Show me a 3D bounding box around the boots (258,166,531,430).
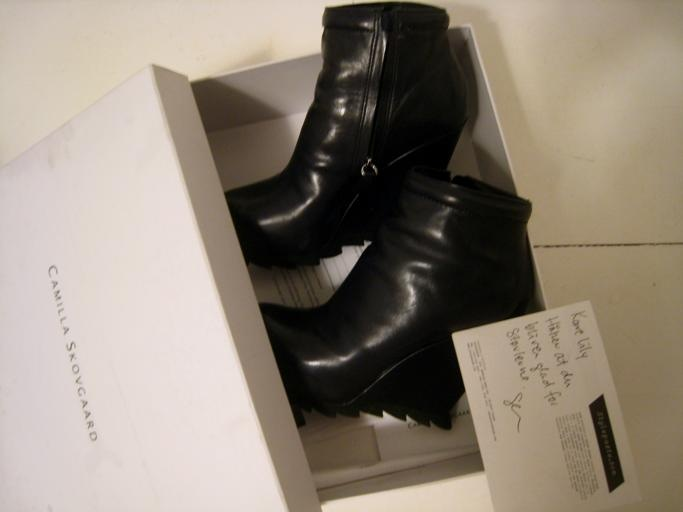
[{"bbox_3d":[0.098,0.054,1.150,0.556,0.472,0.218,-6,36,-19],"label":"boots"}]
